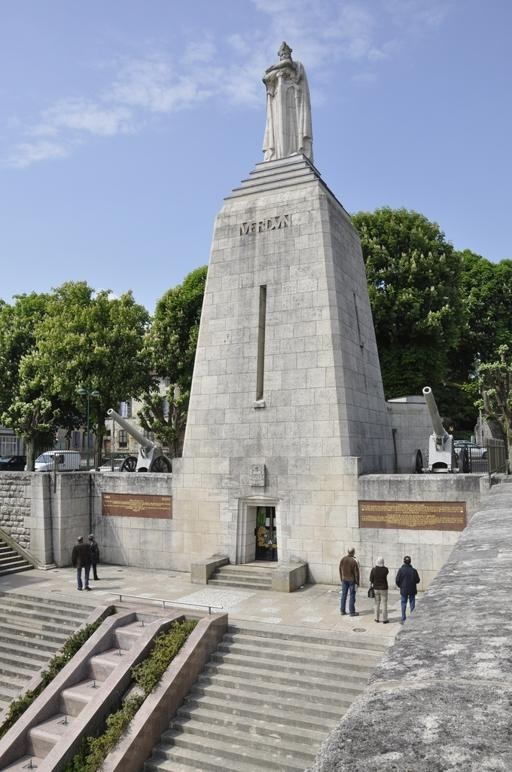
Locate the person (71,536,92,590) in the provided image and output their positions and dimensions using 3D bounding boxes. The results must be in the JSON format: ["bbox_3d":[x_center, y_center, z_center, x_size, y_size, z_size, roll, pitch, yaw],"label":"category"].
[{"bbox_3d":[-4.669,4.749,19.086,0.468,1.395,1.261,0,-5,-14],"label":"person"}]

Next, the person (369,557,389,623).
[{"bbox_3d":[2.531,4.272,14.704,0.362,1.442,1.482,-2,-5,8],"label":"person"}]

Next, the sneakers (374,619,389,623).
[{"bbox_3d":[2.624,4.987,15.016,0.106,0.132,0.311,8,-16,-36],"label":"sneakers"}]

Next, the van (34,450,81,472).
[{"bbox_3d":[-7.655,2.954,27.533,1.097,0.983,1.845,-10,-19,33],"label":"van"}]

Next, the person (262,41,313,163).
[{"bbox_3d":[1.020,-9.454,23.655,1.538,4.046,1.148,-2,-4,1],"label":"person"}]
